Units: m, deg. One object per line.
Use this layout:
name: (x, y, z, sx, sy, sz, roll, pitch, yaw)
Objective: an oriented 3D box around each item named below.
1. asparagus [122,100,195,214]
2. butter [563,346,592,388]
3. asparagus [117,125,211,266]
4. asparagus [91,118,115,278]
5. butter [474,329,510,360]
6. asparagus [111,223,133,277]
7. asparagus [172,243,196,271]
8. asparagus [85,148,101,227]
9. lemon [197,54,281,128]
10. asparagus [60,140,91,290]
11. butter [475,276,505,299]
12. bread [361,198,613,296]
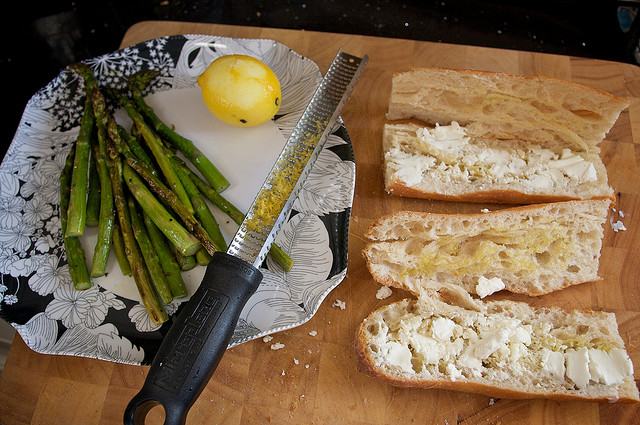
asparagus: (-0.895, -0.279, 3.008, 0.056, 0.074, 0.705, -27, 83, -30)
butter: (1.282, 0.763, 2.742, 0.124, 0.045, 0.183, -19, 75, 9)
asparagus: (-0.850, -0.064, 2.947, 0.097, 0.113, 0.839, -32, 79, -17)
asparagus: (-1.161, -0.064, 2.939, 0.069, 0.086, 0.887, 7, 75, -50)
butter: (0.849, 0.650, 2.719, 0.173, 0.048, 0.116, -40, 71, -4)
asparagus: (-1.054, 0.203, 2.955, 0.076, 0.058, 0.377, -17, 80, 8)
asparagus: (-0.723, 0.231, 2.877, 0.089, 0.048, 0.125, -25, 91, -9)
asparagus: (-1.217, -0.129, 2.981, 0.064, 0.059, 0.390, 0, 72, -3)
lemon: (-0.418, -0.682, 3.097, 0.408, 0.320, 0.331, 27, 112, 8)
asparagus: (-1.308, 0.127, 2.960, 0.116, 0.112, 1.033, -7, 79, -12)
butter: (0.889, 0.387, 2.869, 0.109, 0.042, 0.116, 25, 69, 8)
bread: (0.825, 0.197, 3.101, 1.344, 0.534, 0.571, -5, 45, 8)
